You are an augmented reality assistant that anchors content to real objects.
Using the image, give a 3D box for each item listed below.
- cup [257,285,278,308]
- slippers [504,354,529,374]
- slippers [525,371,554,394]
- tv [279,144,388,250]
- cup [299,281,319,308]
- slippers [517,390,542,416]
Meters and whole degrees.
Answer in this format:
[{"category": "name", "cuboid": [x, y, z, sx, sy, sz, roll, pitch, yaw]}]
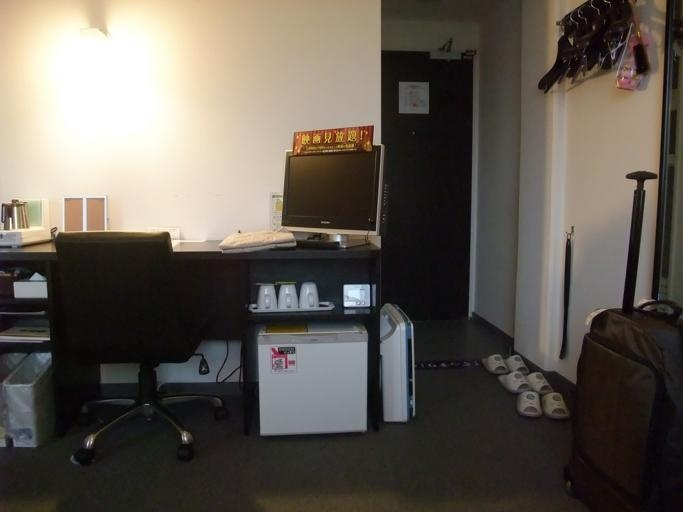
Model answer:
[{"category": "cup", "cuboid": [-0.420, 0.230, 3.079, 0.095, 0.128, 0.128, 0, 9, -6]}, {"category": "slippers", "cuboid": [1.205, 0.743, 3.741, 0.076, 0.061, 0.142, -4, 23, 0]}, {"category": "slippers", "cuboid": [1.269, 0.802, 3.486, 0.082, 0.062, 0.156, -4, 23, -3]}, {"category": "tv", "cuboid": [-0.052, -0.347, 3.153, 0.571, 0.534, 0.267, 2, -4, 22]}, {"category": "cup", "cuboid": [-0.190, 0.228, 3.120, 0.086, 0.146, 0.148, 0, 9, -3]}, {"category": "slippers", "cuboid": [1.147, 0.890, 3.331, 0.153, 0.099, 0.229, 0, 9, 19]}]
